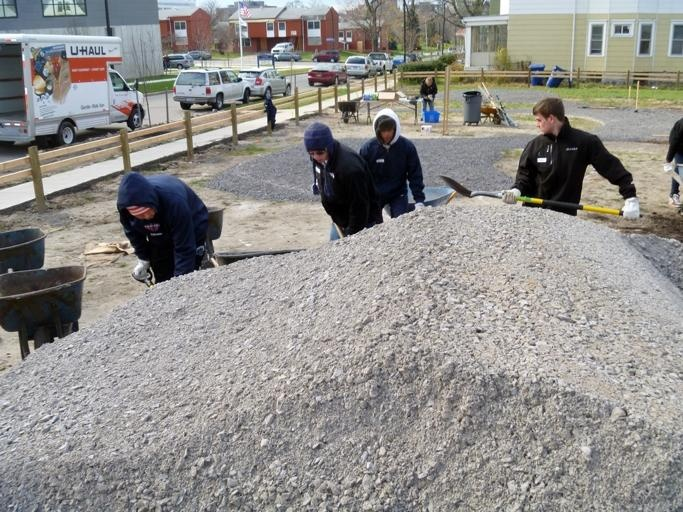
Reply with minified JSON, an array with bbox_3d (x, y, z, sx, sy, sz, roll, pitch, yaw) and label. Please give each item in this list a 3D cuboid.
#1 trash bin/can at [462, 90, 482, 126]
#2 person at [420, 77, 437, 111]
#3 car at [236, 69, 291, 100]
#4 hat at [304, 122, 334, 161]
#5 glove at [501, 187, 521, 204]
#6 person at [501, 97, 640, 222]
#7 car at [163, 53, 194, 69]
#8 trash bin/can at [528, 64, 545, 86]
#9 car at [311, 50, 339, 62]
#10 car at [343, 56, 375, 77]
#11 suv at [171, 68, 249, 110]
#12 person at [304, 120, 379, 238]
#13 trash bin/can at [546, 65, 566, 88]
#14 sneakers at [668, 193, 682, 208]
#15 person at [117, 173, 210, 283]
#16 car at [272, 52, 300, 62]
[{"bbox_3d":[4.092,-4.684,18.404,0.636,0.956,0.606,-13,24,-26],"label":"trash bin/can"},{"bbox_3d":[2.820,-5.326,19.042,0.443,1.071,1.374,0,19,9],"label":"person"},{"bbox_3d":[-3.417,-7.329,24.735,1.148,1.022,2.692,7,25,21],"label":"car"},{"bbox_3d":[-0.185,-0.980,4.920,0.249,0.344,0.308,-1,26,7],"label":"hat"},{"bbox_3d":[1.549,-0.567,5.347,0.159,0.081,0.119,-19,30,-23],"label":"glove"},{"bbox_3d":[2.089,-0.620,5.351,1.112,1.615,0.629,12,39,36],"label":"person"},{"bbox_3d":[-12.818,-15.364,46.094,1.998,1.013,2.912,-7,20,-10],"label":"car"},{"bbox_3d":[9.928,-9.250,29.787,0.794,1.048,1.092,3,20,17],"label":"trash bin/can"},{"bbox_3d":[-1.336,-17.291,50.525,1.818,1.010,1.306,7,32,8],"label":"car"},{"bbox_3d":[1.179,-11.765,36.892,1.385,1.106,2.514,4,38,9],"label":"car"},{"bbox_3d":[-4.715,-6.199,21.623,1.345,1.197,2.938,10,25,22],"label":"suv"},{"bbox_3d":[0.028,-0.648,5.104,0.605,1.072,0.470,-1,18,4],"label":"person"},{"bbox_3d":[10.672,-8.904,29.268,0.389,1.054,0.907,6,29,-37],"label":"trash bin/can"},{"bbox_3d":[5.067,-0.877,9.038,0.264,0.210,0.095,-3,29,-3],"label":"sneakers"},{"bbox_3d":[-1.529,-0.221,5.135,0.720,1.156,0.744,-8,19,-14],"label":"person"},{"bbox_3d":[-5.247,-19.000,55.638,2.281,0.923,3.344,-3,20,1],"label":"car"}]
